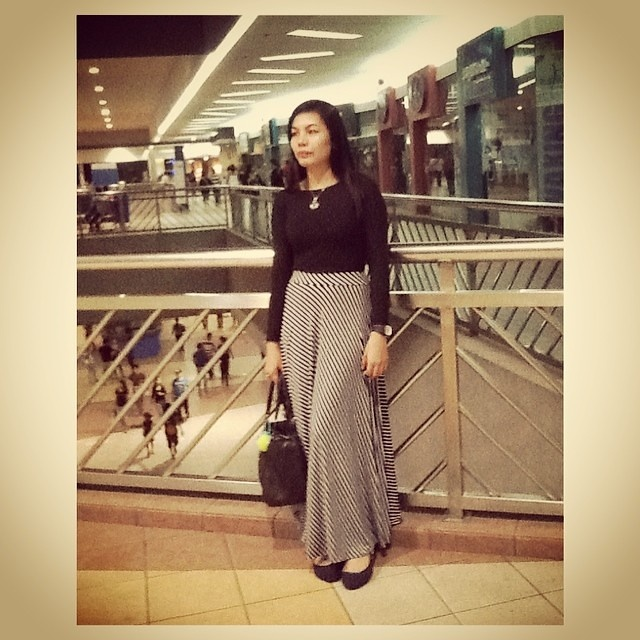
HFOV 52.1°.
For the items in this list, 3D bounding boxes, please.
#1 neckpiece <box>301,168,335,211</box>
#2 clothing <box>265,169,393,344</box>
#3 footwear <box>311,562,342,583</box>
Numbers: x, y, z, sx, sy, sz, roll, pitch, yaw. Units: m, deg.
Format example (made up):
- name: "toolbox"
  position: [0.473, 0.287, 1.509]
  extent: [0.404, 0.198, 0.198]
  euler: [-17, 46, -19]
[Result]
- name: "neckpiece"
  position: [-0.012, -0.419, 2.182]
  extent: [0.118, 0.134, 0.033]
  euler: [-9, -15, 42]
- name: "clothing"
  position: [0.021, -0.205, 2.191]
  extent: [0.427, 0.535, 0.181]
  euler: [0, 14, 21]
- name: "footwear"
  position: [0.018, 0.862, 2.288]
  extent: [0.077, 0.071, 0.086]
  euler: [1, 4, 32]
